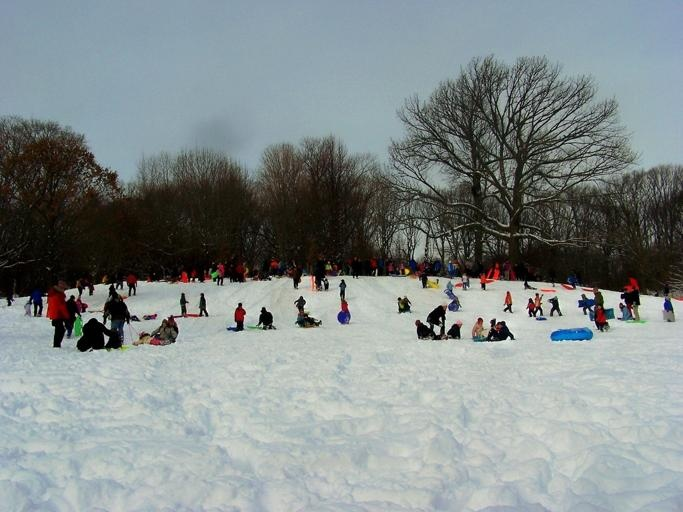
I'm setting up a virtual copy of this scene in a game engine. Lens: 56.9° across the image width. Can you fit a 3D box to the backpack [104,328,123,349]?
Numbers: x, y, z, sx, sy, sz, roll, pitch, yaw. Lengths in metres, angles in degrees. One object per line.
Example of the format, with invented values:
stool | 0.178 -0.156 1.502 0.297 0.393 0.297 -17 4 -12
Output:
backpack | -7.603 2.820 21.087 0.399 0.755 0.672 1 -11 -19
